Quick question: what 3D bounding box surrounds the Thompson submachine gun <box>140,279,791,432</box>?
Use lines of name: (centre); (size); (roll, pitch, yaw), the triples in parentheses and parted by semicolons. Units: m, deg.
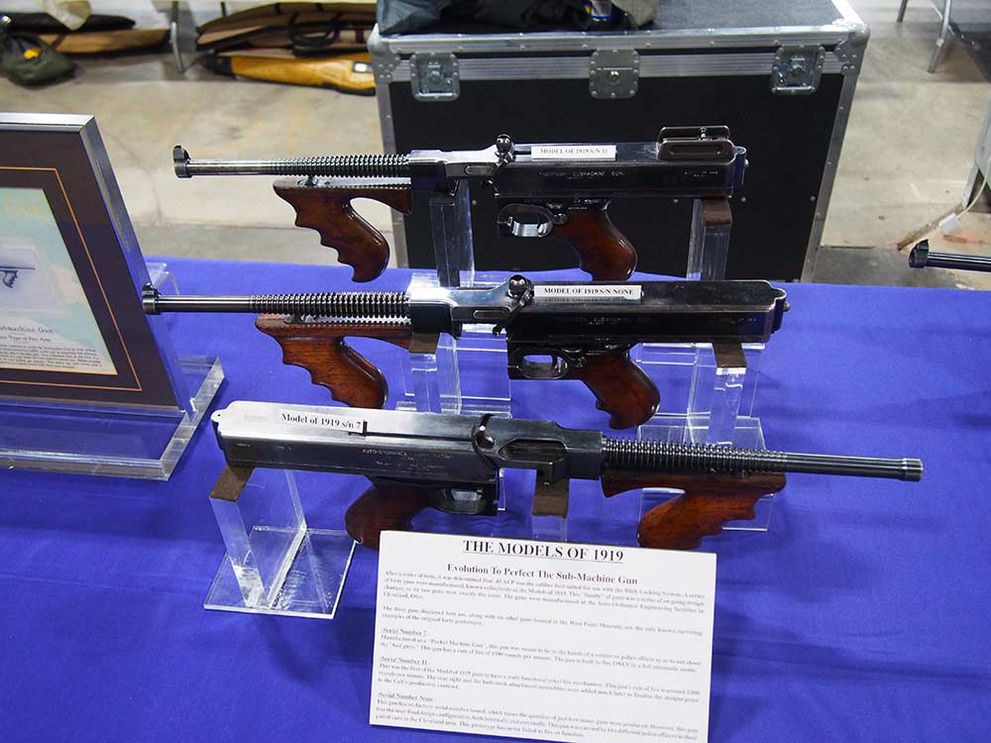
Thompson submachine gun: (-0.046, -0.034, 3.307); (1.711, 0.584, 0.204); (1, 46, 5)
